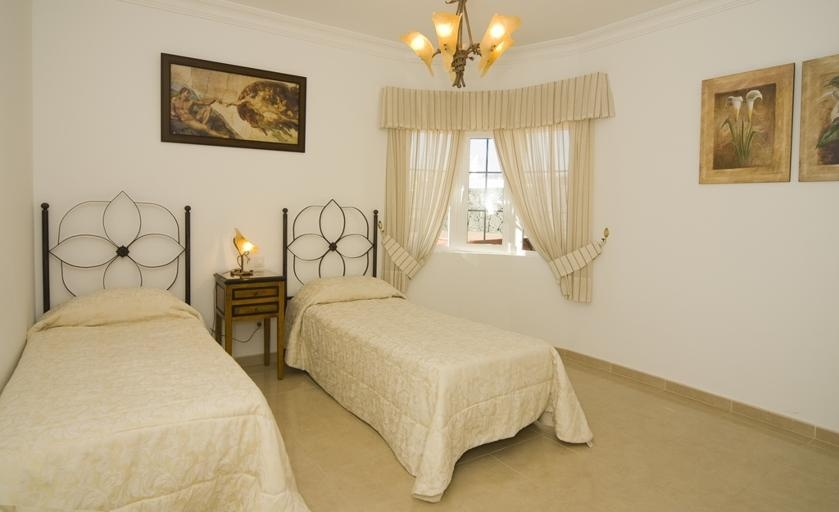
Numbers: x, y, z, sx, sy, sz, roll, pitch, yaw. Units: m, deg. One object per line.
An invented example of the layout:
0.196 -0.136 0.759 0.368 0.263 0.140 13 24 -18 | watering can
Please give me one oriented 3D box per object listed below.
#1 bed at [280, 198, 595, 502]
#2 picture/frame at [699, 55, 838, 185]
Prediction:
-0.092 0.560 5.337 1.869 1.932 3.049 -3 9 -35 | bed
3.238 -1.237 4.904 1.105 1.105 0.218 4 9 28 | picture/frame
